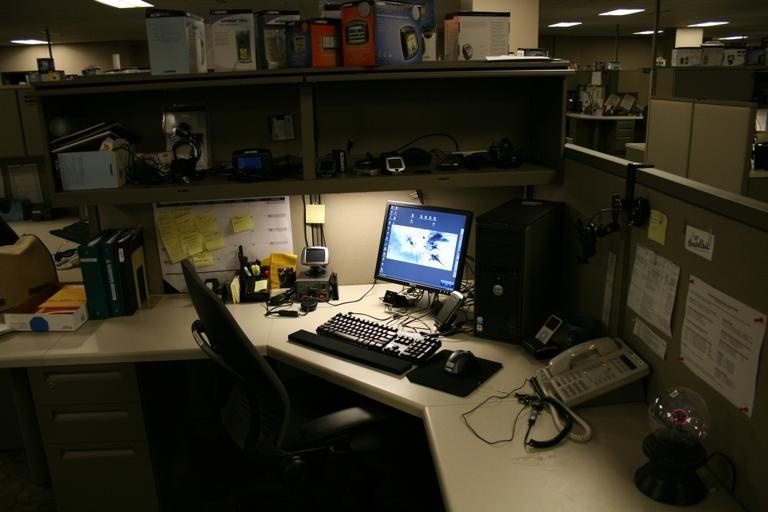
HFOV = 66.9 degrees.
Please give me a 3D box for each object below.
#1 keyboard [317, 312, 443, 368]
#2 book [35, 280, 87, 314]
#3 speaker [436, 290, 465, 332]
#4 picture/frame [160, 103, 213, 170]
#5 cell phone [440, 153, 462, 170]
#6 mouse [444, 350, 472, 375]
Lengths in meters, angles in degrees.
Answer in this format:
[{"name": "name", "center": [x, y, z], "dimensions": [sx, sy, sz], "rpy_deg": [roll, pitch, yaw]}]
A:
[{"name": "keyboard", "center": [-0.038, 0.406, 2.898], "dimensions": [0.614, 0.075, 0.218], "rpy_deg": [12, 20, 28]}, {"name": "book", "center": [-1.706, 0.216, 3.102], "dimensions": [0.169, 0.041, 0.175], "rpy_deg": [-4, 35, 15]}, {"name": "speaker", "center": [0.365, 0.275, 3.021], "dimensions": [0.057, 0.225, 0.115], "rpy_deg": [33, 0, -25]}, {"name": "picture/frame", "center": [-1.087, -0.671, 3.175], "dimensions": [0.242, 0.366, 0.151], "rpy_deg": [0, 15, -8]}, {"name": "cell phone", "center": [0.374, -0.521, 3.224], "dimensions": [0.093, 0.040, 0.172], "rpy_deg": [-1, 15, 5]}, {"name": "mouse", "center": [0.336, 0.477, 2.624], "dimensions": [0.123, 0.070, 0.083], "rpy_deg": [-9, 22, -29]}]
